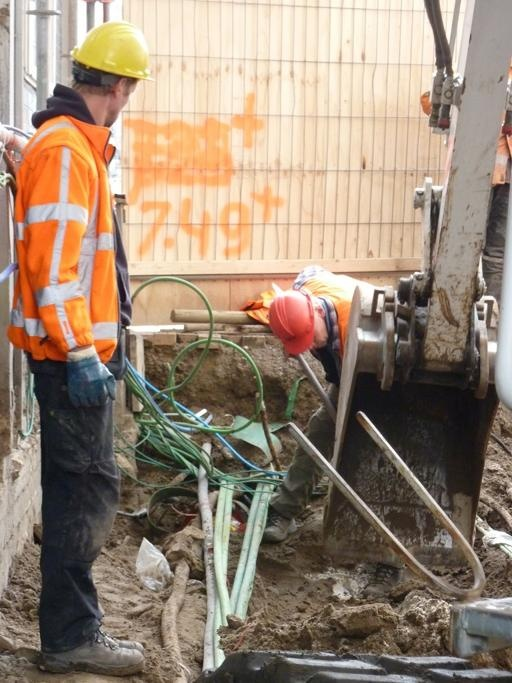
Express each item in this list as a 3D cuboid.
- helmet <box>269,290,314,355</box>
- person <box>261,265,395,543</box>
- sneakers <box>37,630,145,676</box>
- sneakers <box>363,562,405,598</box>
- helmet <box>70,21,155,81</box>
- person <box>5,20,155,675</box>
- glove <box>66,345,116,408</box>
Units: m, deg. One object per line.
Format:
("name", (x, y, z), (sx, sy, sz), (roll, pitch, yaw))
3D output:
("helmet", (0.206, -0.092, 6.047), (0.213, 0.303, 0.168), (-8, -2, 31))
("person", (0.247, 0.281, 6.344), (0.814, 0.408, 1.272), (14, -31, -2))
("sneakers", (-0.608, 1.156, 4.660), (0.312, 0.133, 0.175), (1, -2, -15))
("sneakers", (0.585, 1.119, 5.754), (0.120, 0.045, 0.164), (-2, 23, 12))
("helmet", (-0.539, -1.095, 4.739), (0.227, 0.151, 0.273), (27, 22, 28))
("person", (-0.656, 0.035, 4.653), (0.568, 2.407, 0.641), (4, 11, -11))
("glove", (-0.607, 0.130, 4.512), (0.155, 0.209, 0.113), (-21, 29, -32))
